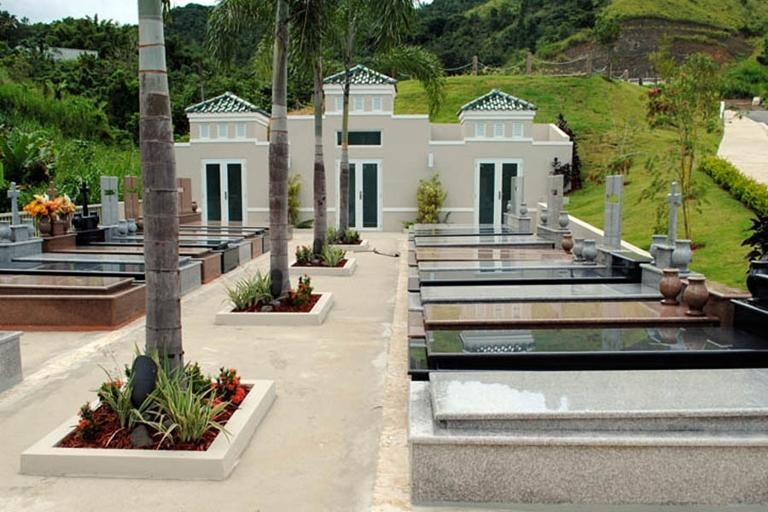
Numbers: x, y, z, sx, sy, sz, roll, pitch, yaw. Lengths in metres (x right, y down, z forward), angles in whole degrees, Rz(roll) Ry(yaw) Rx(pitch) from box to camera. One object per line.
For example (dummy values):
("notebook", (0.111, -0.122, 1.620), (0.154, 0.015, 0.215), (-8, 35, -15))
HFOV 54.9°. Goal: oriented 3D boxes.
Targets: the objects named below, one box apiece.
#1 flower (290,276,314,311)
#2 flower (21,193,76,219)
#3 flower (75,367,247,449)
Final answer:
("flower", (-1.546, 0.662, 13.335), (0.296, 0.572, 0.331), (-14, -15, 29))
("flower", (-7.308, -1.080, 16.247), (0.675, 0.476, 0.698), (2, 11, -17))
("flower", (-2.674, 1.953, 9.517), (1.195, 0.593, 1.281), (0, 4, 3))
